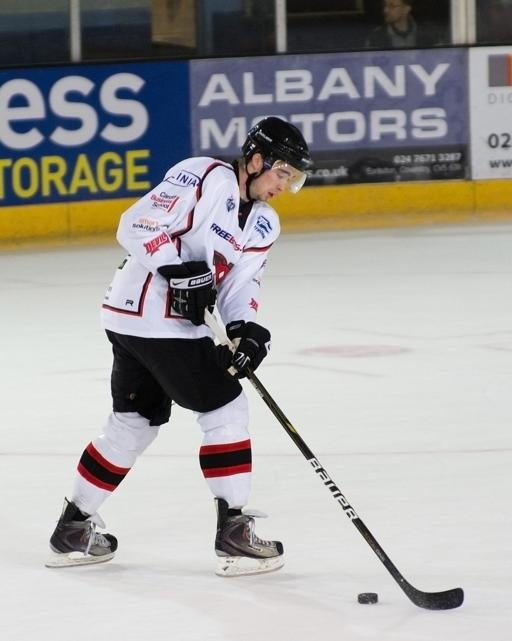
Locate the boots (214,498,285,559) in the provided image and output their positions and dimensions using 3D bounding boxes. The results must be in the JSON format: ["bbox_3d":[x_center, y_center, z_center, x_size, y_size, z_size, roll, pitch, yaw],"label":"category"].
[{"bbox_3d":[-0.020,0.493,2.104,0.199,0.127,0.070,18,-23,-37],"label":"boots"}]

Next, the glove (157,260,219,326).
[{"bbox_3d":[-0.185,-0.042,2.131,0.169,0.130,0.117,9,-11,-7],"label":"glove"}]

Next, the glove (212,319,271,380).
[{"bbox_3d":[-0.016,0.046,2.244,0.131,0.057,0.156,15,-36,2],"label":"glove"}]

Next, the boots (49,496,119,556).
[{"bbox_3d":[-0.399,0.500,2.157,0.187,0.117,0.073,21,-6,-39],"label":"boots"}]
